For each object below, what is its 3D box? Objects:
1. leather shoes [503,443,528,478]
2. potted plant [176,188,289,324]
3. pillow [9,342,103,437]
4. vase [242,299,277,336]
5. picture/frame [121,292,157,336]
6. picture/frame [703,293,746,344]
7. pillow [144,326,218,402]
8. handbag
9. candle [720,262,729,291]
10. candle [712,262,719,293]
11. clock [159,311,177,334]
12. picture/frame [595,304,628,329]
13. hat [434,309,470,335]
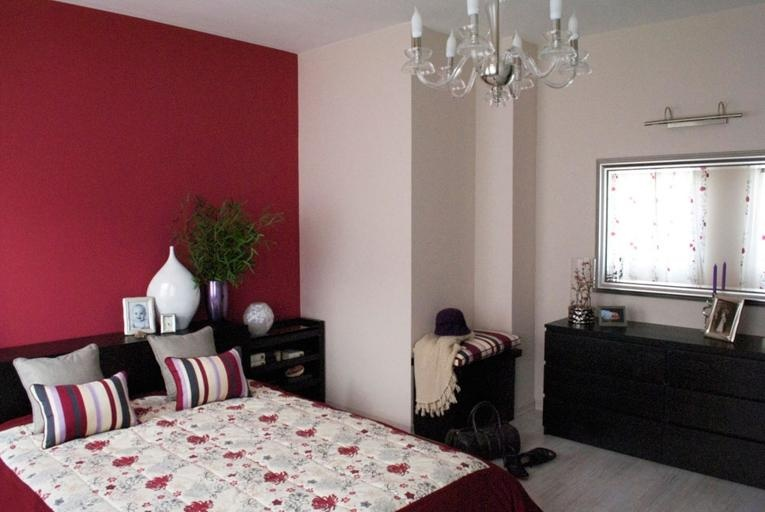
[{"bbox_3d":[1.048,1.661,4.196,0.094,0.119,0.291,-7,-2,-15],"label":"leather shoes"},{"bbox_3d":[-1.488,-0.077,4.907,0.984,1.137,0.949,-2,7,-31],"label":"potted plant"},{"bbox_3d":[-2.160,0.904,3.428,0.215,0.430,0.445,-2,7,45],"label":"pillow"},{"bbox_3d":[-1.089,0.568,4.793,0.271,0.332,0.280,-6,-4,12],"label":"vase"},{"bbox_3d":[-1.978,0.480,4.216,0.313,0.414,0.051,-2,-5,-34],"label":"picture/frame"},{"bbox_3d":[2.783,0.515,4.210,0.058,0.484,0.328,22,-9,-32],"label":"picture/frame"},{"bbox_3d":[-1.528,0.829,3.909,0.205,0.397,0.425,2,12,45],"label":"pillow"},{"bbox_3d":[0.789,1.433,4.248,0.493,0.428,0.258,1,5,-31],"label":"handbag"},{"bbox_3d":[2.902,0.174,4.414,0.043,0.237,0.047,2,10,20],"label":"candle"},{"bbox_3d":[2.841,0.193,4.434,0.038,0.234,0.072,1,10,18],"label":"candle"},{"bbox_3d":[-1.750,0.541,4.222,0.170,0.225,0.024,2,-3,-29],"label":"clock"},{"bbox_3d":[2.046,0.546,4.631,0.183,0.167,0.019,1,-4,2],"label":"picture/frame"},{"bbox_3d":[0.629,0.582,4.666,0.267,0.154,0.223,-4,7,-24],"label":"hat"}]
